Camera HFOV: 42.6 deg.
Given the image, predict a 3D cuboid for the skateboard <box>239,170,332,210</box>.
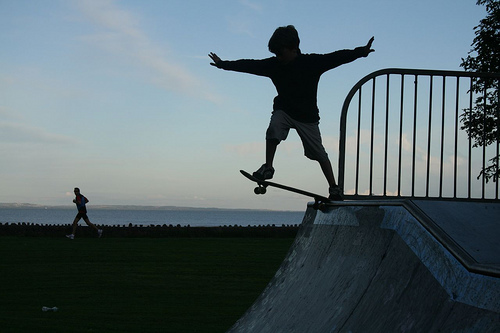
[{"bbox_3d":[0.429,0.250,7.367,1.272,0.205,0.264,22,2,2],"label":"skateboard"}]
